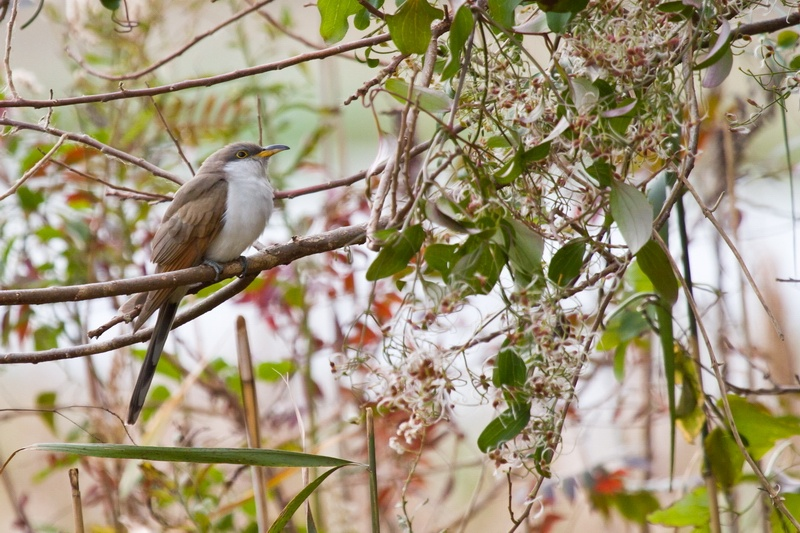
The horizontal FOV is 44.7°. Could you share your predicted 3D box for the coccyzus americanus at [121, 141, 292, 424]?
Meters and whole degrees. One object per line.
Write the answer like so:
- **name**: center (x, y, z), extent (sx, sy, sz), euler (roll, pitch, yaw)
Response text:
- **coccyzus americanus**: center (-0.656, -0.039, 3.394), extent (0.530, 1.285, 0.432), euler (-1, -46, -6)
